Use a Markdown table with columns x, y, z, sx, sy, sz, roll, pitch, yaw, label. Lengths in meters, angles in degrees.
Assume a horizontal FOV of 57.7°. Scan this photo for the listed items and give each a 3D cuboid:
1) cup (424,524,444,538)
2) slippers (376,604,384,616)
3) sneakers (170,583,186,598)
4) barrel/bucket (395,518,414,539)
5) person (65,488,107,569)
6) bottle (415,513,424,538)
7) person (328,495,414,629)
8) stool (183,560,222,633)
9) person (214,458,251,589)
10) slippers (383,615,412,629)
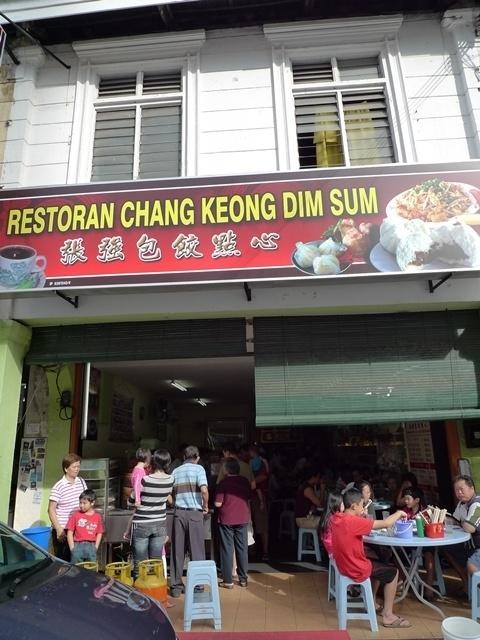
| x | y | z | sx | sy | sz | roll | pitch | yaw | label |
| --- | --- | --- | --- | --- | --- | --- | --- | --- | --- |
| 1.654 | 1.788 | 3.682 | 0.120 | 0.122 | 0.123 | 0 | -11 | 0 | cup |
| 1.230 | 2.567 | 3.844 | 0.033 | 0.039 | 0.094 | 3 | 2 | -24 | slippers |
| -0.639 | 2.739 | 4.416 | 0.073 | 0.095 | 0.205 | 2 | -12 | 0 | sneakers |
| 1.415 | 1.783 | 3.717 | 0.136 | 0.115 | 0.144 | 2 | -20 | 1 | barrel/bucket |
| -1.472 | 2.112 | 4.172 | 0.327 | 0.900 | 0.172 | 3 | -1 | -11 | person |
| 1.561 | 1.781 | 3.756 | 0.071 | 0.177 | 0.104 | -1 | -15 | 23 | bottle |
| 1.051 | 1.923 | 3.532 | 0.506 | 0.971 | 0.419 | 0 | -14 | -9 | person |
| -0.297 | 2.315 | 3.725 | 0.328 | 0.542 | 0.697 | 5 | -13 | -1 | stool |
| -0.079 | 2.253 | 4.864 | 0.414 | 1.327 | 0.366 | 3 | -14 | 5 | person |
| 1.256 | 2.431 | 3.493 | 0.149 | 0.055 | 0.085 | -1 | -10 | 4 | slippers |
